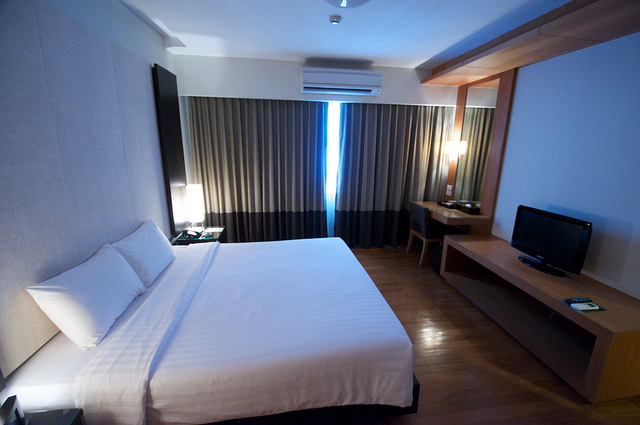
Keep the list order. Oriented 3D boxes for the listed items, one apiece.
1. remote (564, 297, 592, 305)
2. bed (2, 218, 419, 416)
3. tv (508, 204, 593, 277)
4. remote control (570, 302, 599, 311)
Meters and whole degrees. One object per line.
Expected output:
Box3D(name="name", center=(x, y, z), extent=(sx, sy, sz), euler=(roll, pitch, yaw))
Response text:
Box3D(name="remote", center=(2.493, 0.848, 3.845), extent=(0.288, 0.038, 0.081), euler=(-2, 11, -11))
Box3D(name="bed", center=(-0.806, 1.028, 3.572), extent=(2.146, 0.783, 2.144), euler=(-1, 17, -7))
Box3D(name="tv", center=(2.516, 0.312, 4.316), extent=(0.186, 0.513, 0.666), euler=(2, 19, -27))
Box3D(name="remote control", center=(2.488, 0.882, 3.771), extent=(0.242, 0.040, 0.086), euler=(0, 10, -5))
